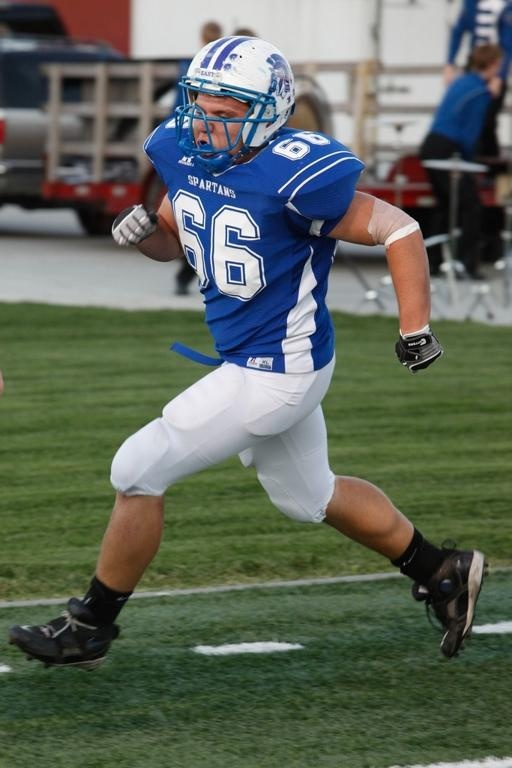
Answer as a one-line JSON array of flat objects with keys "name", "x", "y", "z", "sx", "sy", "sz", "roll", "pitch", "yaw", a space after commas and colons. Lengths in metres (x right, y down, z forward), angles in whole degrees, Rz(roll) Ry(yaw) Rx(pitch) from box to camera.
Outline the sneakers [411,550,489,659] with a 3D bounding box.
[{"name": "sneakers", "x": 0.474, "y": 0.514, "z": 2.077, "sx": 0.208, "sy": 0.284, "sz": 0.107, "roll": 10, "pitch": -3, "yaw": -2}]

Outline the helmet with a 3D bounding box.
[{"name": "helmet", "x": -0.029, "y": -0.653, "z": 1.822, "sx": 0.238, "sy": 0.206, "sz": 0.273, "roll": 17, "pitch": 37, "yaw": 17}]

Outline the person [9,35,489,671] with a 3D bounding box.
[{"name": "person", "x": 0.025, "y": -0.054, "z": 1.838, "sx": 1.078, "sy": 1.417, "sz": 0.509, "roll": 1, "pitch": 5, "yaw": -15}]

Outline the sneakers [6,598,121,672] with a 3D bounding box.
[{"name": "sneakers", "x": -0.417, "y": 0.547, "z": 1.821, "sx": 0.264, "sy": 0.130, "sz": 0.091, "roll": 16, "pitch": -8, "yaw": -33}]

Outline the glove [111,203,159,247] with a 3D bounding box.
[{"name": "glove", "x": -0.280, "y": -0.364, "z": 1.884, "sx": 0.084, "sy": 0.051, "sz": 0.111, "roll": -27, "pitch": 8, "yaw": 30}]
